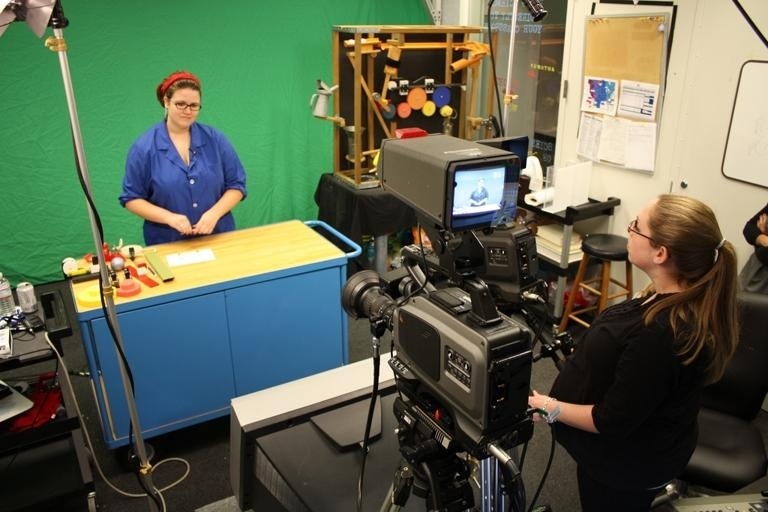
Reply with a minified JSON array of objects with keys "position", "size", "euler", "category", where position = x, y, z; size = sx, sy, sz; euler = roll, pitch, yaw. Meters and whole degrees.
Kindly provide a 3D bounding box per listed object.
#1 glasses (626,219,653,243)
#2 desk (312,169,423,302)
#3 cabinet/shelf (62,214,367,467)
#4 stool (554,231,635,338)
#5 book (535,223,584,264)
[{"position":[1.127,-0.115,2.424],"size":[0.088,0.025,0.086],"euler":[32,23,36],"category":"glasses"},{"position":[-0.096,-0.306,5.459],"size":[0.987,0.885,0.989],"euler":[-15,34,-38],"category":"desk"},{"position":[-1.054,0.382,4.025],"size":[2.055,1.180,1.025],"euler":[-13,27,-27],"category":"cabinet/shelf"},{"position":[1.509,0.179,3.952],"size":[0.464,0.794,0.479],"euler":[13,38,29],"category":"stool"},{"position":[1.448,-0.109,4.527],"size":[0.288,0.115,0.374],"euler":[-5,21,-23],"category":"book"}]
